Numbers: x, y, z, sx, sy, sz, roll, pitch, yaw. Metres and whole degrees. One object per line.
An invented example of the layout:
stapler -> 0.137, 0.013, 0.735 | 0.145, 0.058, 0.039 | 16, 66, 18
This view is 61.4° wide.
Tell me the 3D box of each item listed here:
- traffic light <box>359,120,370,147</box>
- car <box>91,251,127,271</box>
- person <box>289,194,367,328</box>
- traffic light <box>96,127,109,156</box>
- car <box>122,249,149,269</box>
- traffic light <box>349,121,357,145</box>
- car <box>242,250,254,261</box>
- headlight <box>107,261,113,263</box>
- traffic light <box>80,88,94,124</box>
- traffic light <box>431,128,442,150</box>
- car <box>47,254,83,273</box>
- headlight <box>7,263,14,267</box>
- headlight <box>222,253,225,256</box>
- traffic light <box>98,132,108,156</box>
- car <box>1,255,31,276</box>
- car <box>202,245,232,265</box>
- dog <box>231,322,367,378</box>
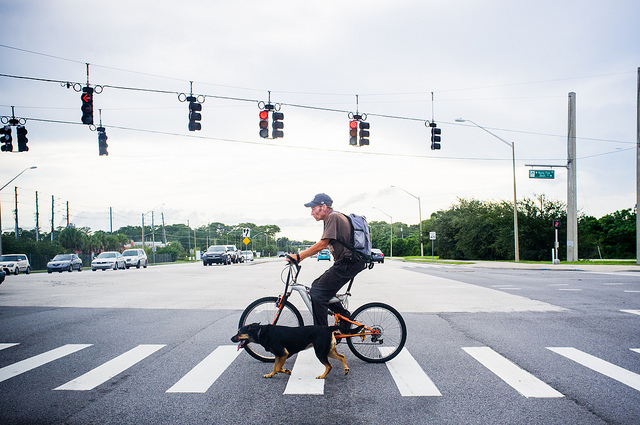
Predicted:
traffic light -> 2.050, -3.629, 24.836 | 0.556, 1.098, 0.295 | 0, 0, -40
car -> -16.826, 3.951, 43.675 | 1.232, 0.912, 2.807 | -2, -8, 1
person -> 0.216, 0.807, 9.057 | 1.071, 2.223, 0.664 | 0, 0, 0
traffic light -> -9.952, -3.242, 24.664 | 0.441, 1.240, 0.507 | 0, 0, -20
car -> -16.886, 4.242, 49.308 | 1.497, 1.255, 2.564 | -2, -11, 3
traffic light -> 1.549, -3.583, 24.358 | 0.386, 1.062, 0.163 | 0, 0, -23
car -> -10.059, 5.944, 74.445 | 1.324, 1.058, 2.882 | -1, -10, -2
headlight -> -16.446, 3.951, 42.424 | 0.342, 0.110, 0.062 | 1, -1, -37
traffic light -> -9.033, -4.187, 21.007 | 0.404, 1.420, 0.518 | 0, 0, -23
traffic light -> 5.419, -3.435, 24.991 | 0.375, 1.037, 0.725 | 0, -1, 3
car -> -20.126, 4.123, 42.893 | 1.832, 1.273, 4.227 | 0, -1, -16
headlight -> -22.291, 3.857, 38.931 | 0.304, 0.259, 0.533 | 0, -1, -13
headlight -> -8.807, 3.903, 49.355 | 0.206, 0.200, 0.108 | 0, -15, -2
traffic light -> -9.917, -3.145, 24.712 | 0.329, 0.998, 0.242 | 0, 0, -33
car -> -22.274, 3.928, 39.453 | 1.432, 1.196, 2.437 | 0, -10, -2
car -> -9.629, 4.112, 50.327 | 2.282, 1.678, 3.647 | 0, -1, -8
dog -> -0.362, 2.256, 8.731 | 2.088, 0.896, 0.501 | -2, -3, 2
